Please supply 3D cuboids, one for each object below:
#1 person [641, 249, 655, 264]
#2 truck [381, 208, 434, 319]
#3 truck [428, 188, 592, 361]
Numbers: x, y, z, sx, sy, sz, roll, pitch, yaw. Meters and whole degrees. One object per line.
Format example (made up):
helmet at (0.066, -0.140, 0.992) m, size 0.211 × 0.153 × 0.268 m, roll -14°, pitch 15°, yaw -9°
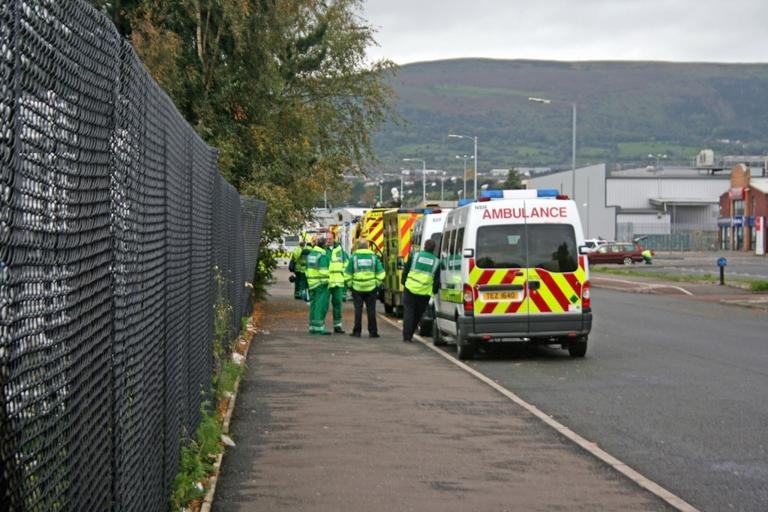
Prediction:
person at (18.046, 0.045, 53.985) m, size 0.791 × 1.473 × 0.574 m, roll -4°, pitch 1°, yaw -20°
truck at (1.003, -0.045, 23.438) m, size 1.561 × 2.775 × 4.936 m, roll -1°, pitch 5°, yaw -1°
truck at (2.363, 0.282, 14.404) m, size 2.439 × 2.982 × 2.041 m, roll -1°, pitch 1°, yaw -1°
